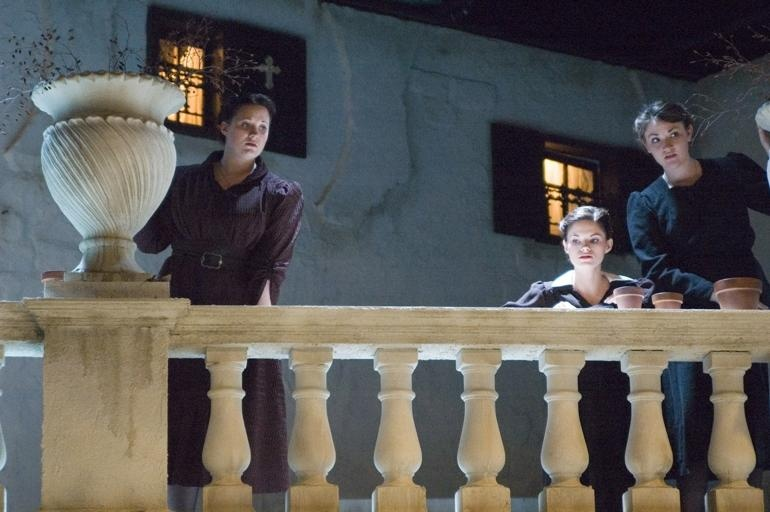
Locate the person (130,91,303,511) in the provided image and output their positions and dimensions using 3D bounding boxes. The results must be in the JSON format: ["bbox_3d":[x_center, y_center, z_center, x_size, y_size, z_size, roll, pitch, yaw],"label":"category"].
[{"bbox_3d":[-0.940,0.312,11.918,0.876,2.427,0.965,2,7,-4],"label":"person"}]
